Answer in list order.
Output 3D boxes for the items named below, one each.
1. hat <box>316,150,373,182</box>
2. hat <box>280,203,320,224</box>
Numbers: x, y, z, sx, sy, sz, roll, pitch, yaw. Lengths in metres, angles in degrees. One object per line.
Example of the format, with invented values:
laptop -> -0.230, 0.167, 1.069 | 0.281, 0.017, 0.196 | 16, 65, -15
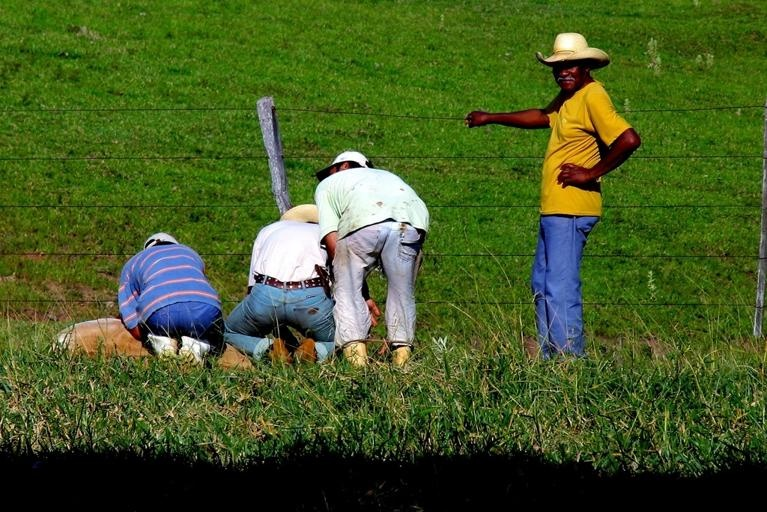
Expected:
hat -> -0.684, -1.615, 27.974 | 0.745, 0.439, 0.541 | 7, -14, -2
hat -> -1.428, -0.756, 28.096 | 0.560, 0.241, 0.324 | -3, 33, 3
